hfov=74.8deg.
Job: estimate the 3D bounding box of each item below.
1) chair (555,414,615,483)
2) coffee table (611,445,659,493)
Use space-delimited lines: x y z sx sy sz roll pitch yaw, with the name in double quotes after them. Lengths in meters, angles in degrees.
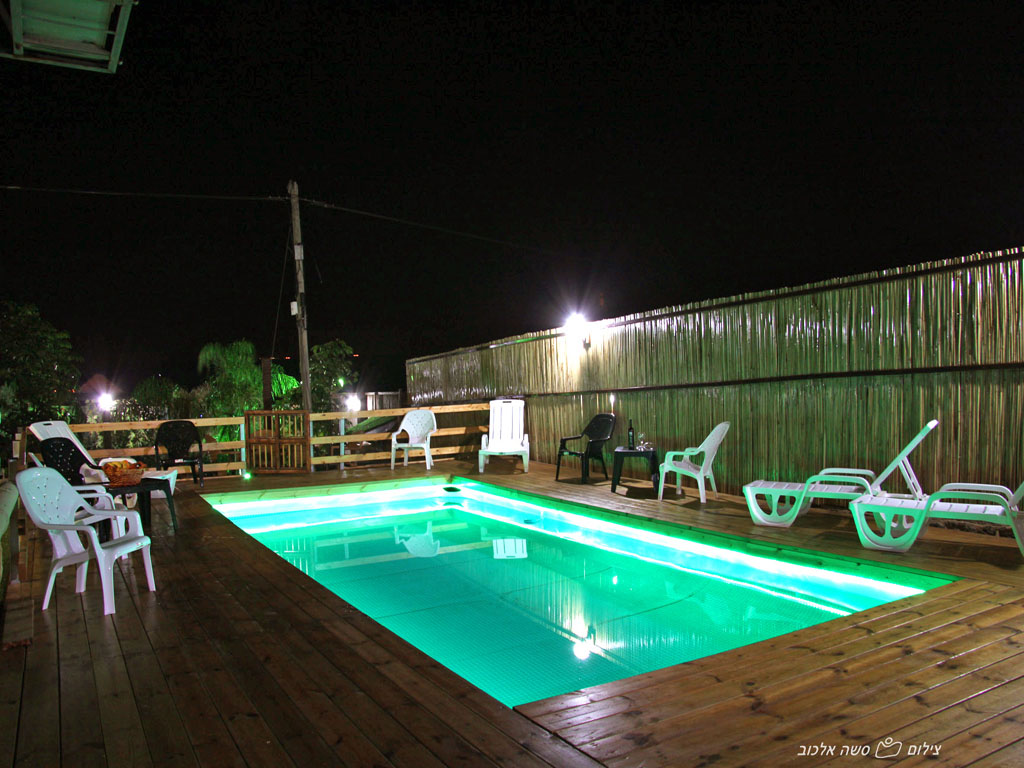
0.931 0.828 9.324 0.895 1.238 0.824 0 0 -42 "chair"
1.574 0.971 8.147 0.570 0.462 0.593 0 -3 6 "coffee table"
